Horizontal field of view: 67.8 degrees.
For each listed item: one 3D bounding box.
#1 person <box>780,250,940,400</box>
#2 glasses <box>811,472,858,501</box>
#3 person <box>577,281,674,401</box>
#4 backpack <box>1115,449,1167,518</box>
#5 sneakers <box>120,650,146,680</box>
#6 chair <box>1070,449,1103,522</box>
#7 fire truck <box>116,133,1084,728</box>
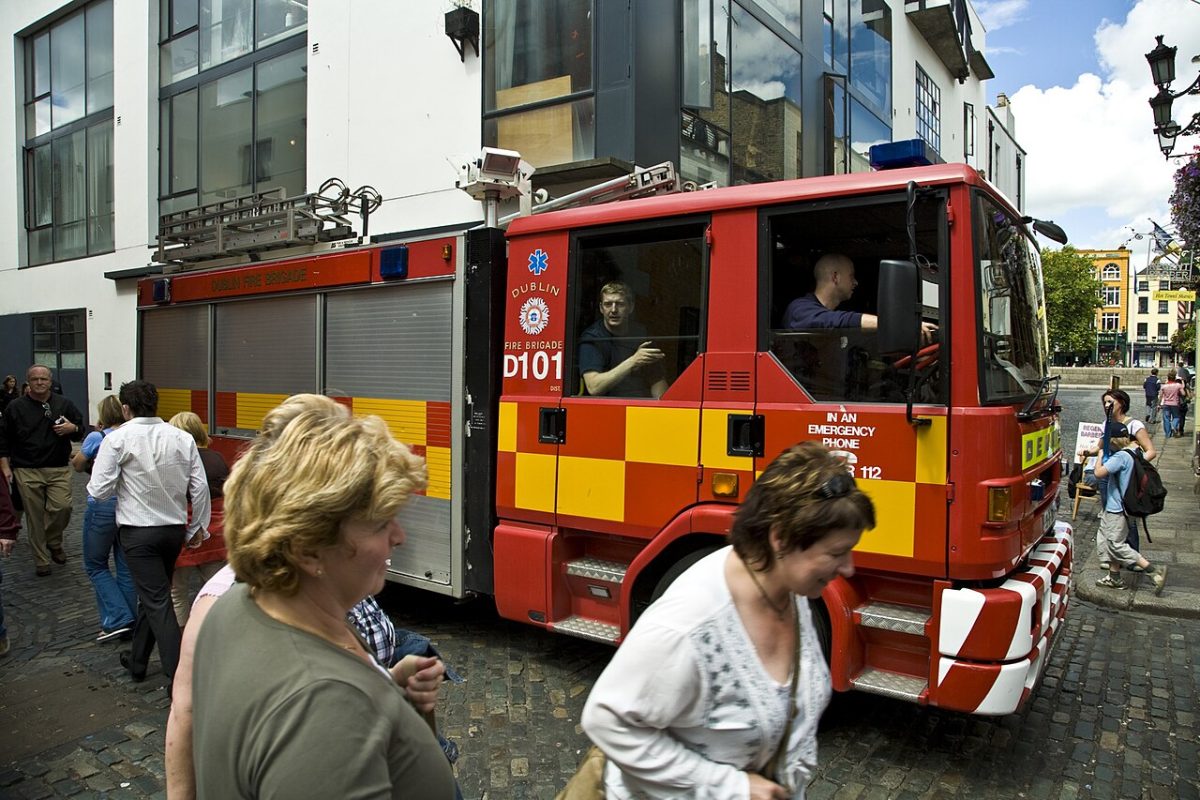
[{"bbox_3d":[1.782,-0.601,7.097,0.734,1.133,0.439,-1,4,15],"label":"person"},{"bbox_3d":[1.281,0.482,4.917,0.199,0.132,0.082,-14,0,-12],"label":"glasses"},{"bbox_3d":[0.227,-0.471,7.743,0.857,1.075,0.732,11,17,34],"label":"person"},{"bbox_3d":[6.228,0.982,10.261,0.345,0.846,0.652,1,6,40],"label":"backpack"},{"bbox_3d":[-4.184,2.394,8.027,0.106,0.140,0.314,-7,44,-46],"label":"sneakers"},{"bbox_3d":[6.830,1.245,12.500,0.351,0.735,0.373,3,-27,46],"label":"chair"},{"bbox_3d":[-0.479,0.211,9.552,9.279,4.847,3.609,0,3,33],"label":"fire truck"}]
